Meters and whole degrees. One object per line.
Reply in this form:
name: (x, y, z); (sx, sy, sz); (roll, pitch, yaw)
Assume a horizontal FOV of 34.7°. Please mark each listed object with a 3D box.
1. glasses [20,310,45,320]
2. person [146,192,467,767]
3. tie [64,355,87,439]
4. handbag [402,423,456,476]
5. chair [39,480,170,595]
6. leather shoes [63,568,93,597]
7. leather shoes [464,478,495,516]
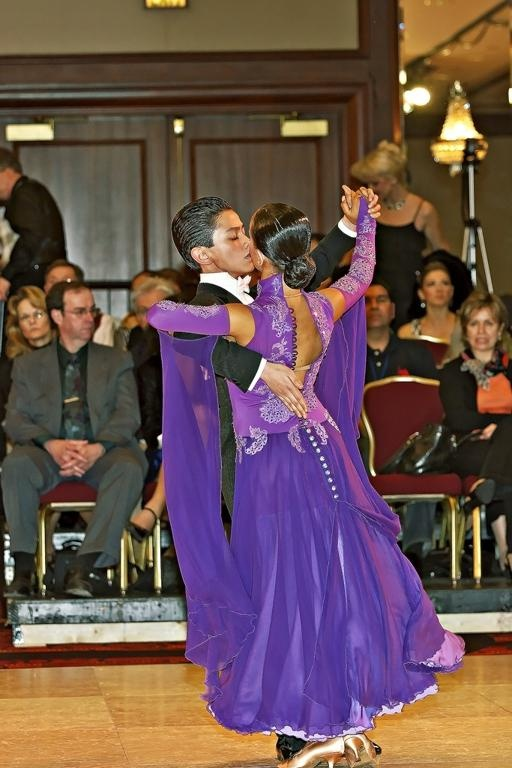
glasses: (-1.160, -0.354, 4.262); (0.065, 0.027, 0.077); (-4, -10, 0)
person: (0.128, 0.189, 1.848); (0.752, 1.395, 0.487); (0, -7, -10)
tie: (-0.861, 0.095, 3.927); (0.127, 0.445, 0.043); (-3, 22, -17)
handbag: (0.802, 0.300, 3.808); (0.192, 0.121, 0.256); (7, 37, 35)
chair: (-0.713, 0.667, 3.823); (0.558, 0.565, 0.647); (0, -10, 3)
leather shoes: (-0.763, 0.869, 3.558); (0.067, 0.055, 0.193); (11, 3, -14)
leather shoes: (0.970, 0.496, 3.558); (0.104, 0.158, 0.067); (19, -4, 16)
